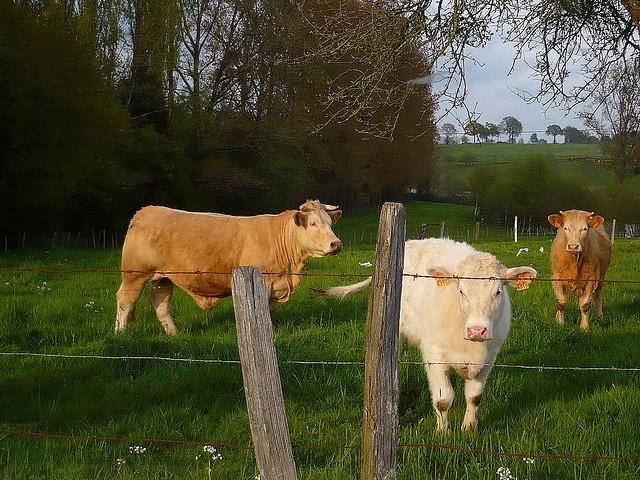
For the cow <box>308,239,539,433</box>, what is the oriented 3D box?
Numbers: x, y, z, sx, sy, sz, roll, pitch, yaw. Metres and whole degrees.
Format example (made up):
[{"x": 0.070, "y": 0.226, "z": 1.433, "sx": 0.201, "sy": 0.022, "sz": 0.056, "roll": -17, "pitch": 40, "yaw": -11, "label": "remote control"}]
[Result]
[{"x": 1.334, "y": 1.359, "z": 10.048, "sx": 2.858, "sy": 2.678, "sz": 2.969, "roll": -1, "pitch": 1, "yaw": -24, "label": "cow"}]

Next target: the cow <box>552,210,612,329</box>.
[{"x": 5.204, "y": 0.537, "z": 13.529, "sx": 0.990, "sy": 2.224, "sz": 2.424, "roll": 0, "pitch": 1, "yaw": 24, "label": "cow"}]
